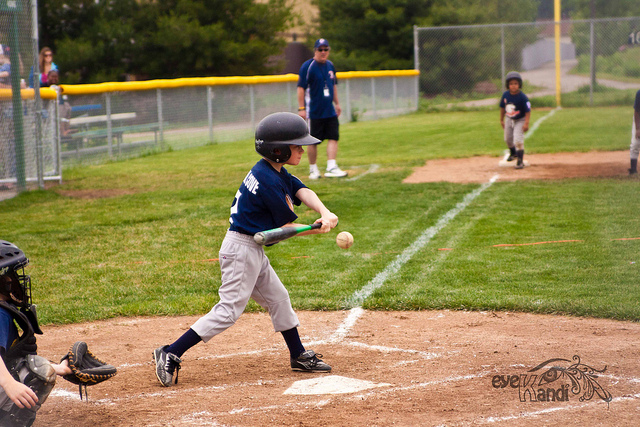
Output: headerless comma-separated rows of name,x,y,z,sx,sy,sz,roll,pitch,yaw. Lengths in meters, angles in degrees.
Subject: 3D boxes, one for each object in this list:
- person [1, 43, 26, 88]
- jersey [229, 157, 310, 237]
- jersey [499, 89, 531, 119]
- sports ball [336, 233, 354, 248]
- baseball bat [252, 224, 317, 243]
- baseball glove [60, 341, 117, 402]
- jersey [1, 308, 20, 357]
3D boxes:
person,-5.742,-2.724,20.393,0.130,0.808,0.528,3,13,40
jersey,-0.613,-0.261,15.178,1.205,1.123,0.907,0,20,-15
jersey,3.743,-2.078,21.058,0.715,0.529,0.289,10,21,36
sports ball,0.358,0.369,15.113,0.212,0.188,0.204,24,-7,3
baseball bat,-0.516,0.267,15.156,1.379,0.186,0.194,-4,-26,-39
baseball glove,-3.044,2.058,14.473,0.669,0.381,0.799,27,11,5
jersey,-4.013,1.499,14.146,0.186,0.468,0.355,-7,6,3
